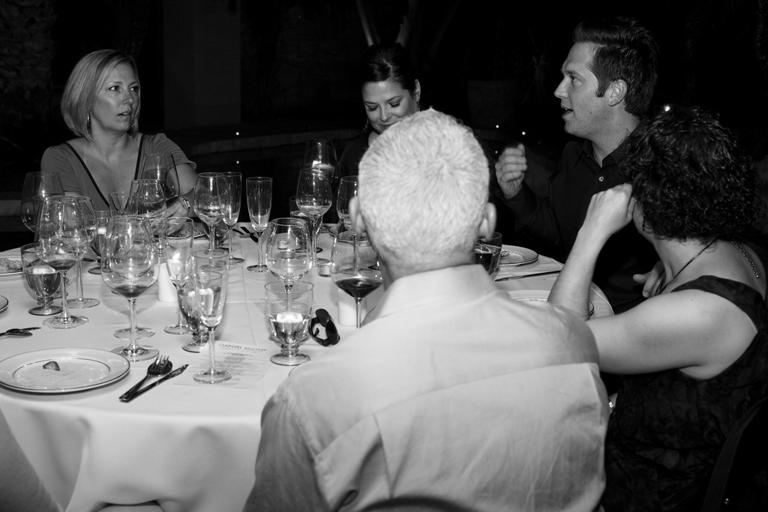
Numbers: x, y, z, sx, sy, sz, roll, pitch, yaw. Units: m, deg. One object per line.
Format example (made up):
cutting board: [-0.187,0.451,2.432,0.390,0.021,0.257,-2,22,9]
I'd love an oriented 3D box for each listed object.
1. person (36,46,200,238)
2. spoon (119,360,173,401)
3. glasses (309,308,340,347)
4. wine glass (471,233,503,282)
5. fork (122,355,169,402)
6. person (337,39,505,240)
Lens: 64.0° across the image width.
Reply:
person: [-1.490,-0.796,3.776,0.878,1.192,0.990,-14,31,-42]
spoon: [-0.612,0.308,1.584,0.036,0.018,0.152,6,28,13]
glasses: [-0.181,0.214,1.843,0.057,0.102,0.113,-17,11,-8]
wine glass: [0.352,0.004,2.119,0.107,0.170,0.101,7,11,35]
fork: [-0.613,0.311,1.588,0.036,0.017,0.153,6,28,13]
person: [0.091,-0.865,3.664,0.964,0.863,0.507,7,42,28]
